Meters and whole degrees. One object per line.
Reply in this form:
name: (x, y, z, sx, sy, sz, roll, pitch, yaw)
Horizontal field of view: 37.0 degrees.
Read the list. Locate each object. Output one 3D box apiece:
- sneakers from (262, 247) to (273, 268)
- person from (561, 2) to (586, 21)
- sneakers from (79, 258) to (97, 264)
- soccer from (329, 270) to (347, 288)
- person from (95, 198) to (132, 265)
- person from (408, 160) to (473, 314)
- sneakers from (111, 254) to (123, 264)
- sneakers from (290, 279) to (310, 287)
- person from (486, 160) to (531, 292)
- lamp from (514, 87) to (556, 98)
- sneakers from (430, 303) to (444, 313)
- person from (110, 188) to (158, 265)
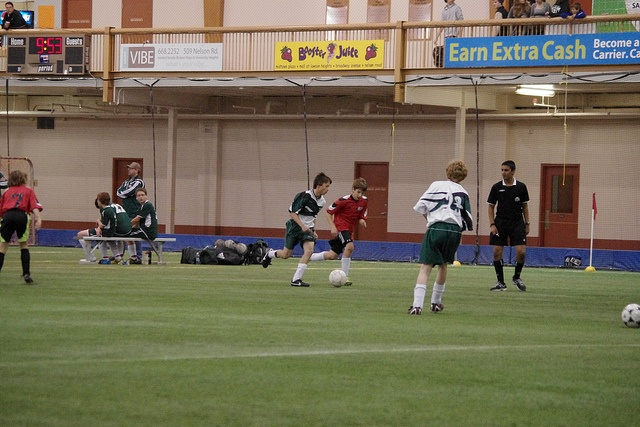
sneakers: (-1.309, 1.099, 23.626, 0.229, 0.517, 0.176, 16, 7, 10)
person: (7.245, -5.637, 27.235, 0.479, 0.501, 0.770, 5, -3, -25)
sneakers: (-5.953, 1.220, 24.603, 0.357, 0.145, 0.150, 3, -5, -24)
soccer: (0.400, 1.384, 20.600, 0.327, 0.338, 0.347, 26, 10, 31)
person: (-5.228, 0.410, 24.379, 0.808, 1.769, 1.033, -2, 9, -15)
person: (2.174, 0.640, 17.402, 1.188, 2.409, 0.492, -3, 9, -17)
sneakers: (-5.195, 1.182, 24.588, 0.292, 0.290, 0.190, -5, -5, 34)
sneakers: (-0.407, 1.492, 20.434, 0.446, 0.186, 0.149, 1, -3, -7)
person: (4.081, 0.290, 20.762, 0.844, 2.853, 1.180, 2, 9, 11)
lamp: (7.082, -3.884, 31.131, 1.109, 0.364, 2.966, 3, 9, 18)
sneakers: (2.167, 1.747, 17.736, 0.131, 0.140, 0.369, -3, -7, 23)
person: (-4.686, 0.363, 24.622, 1.074, 1.907, 0.823, -1, -4, -14)
